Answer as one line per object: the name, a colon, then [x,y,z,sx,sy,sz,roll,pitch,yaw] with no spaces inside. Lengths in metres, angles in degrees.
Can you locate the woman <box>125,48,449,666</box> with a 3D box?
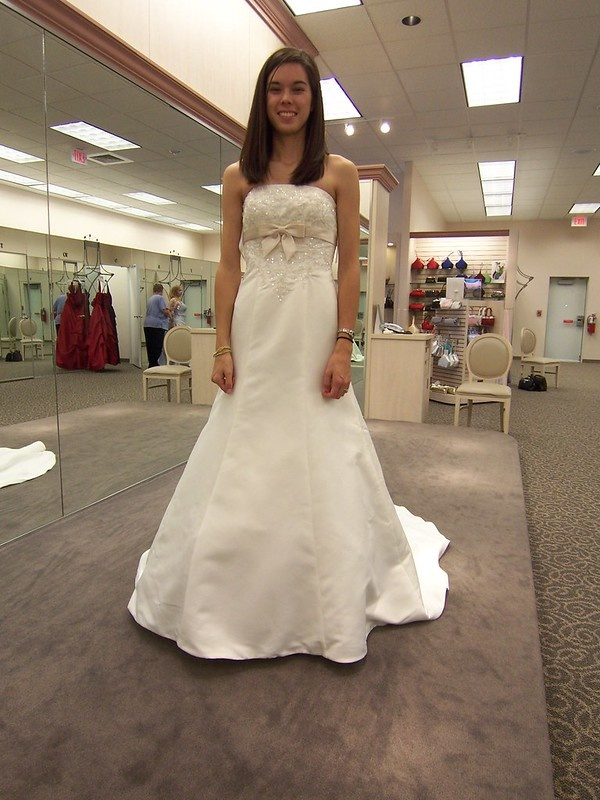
woman: [-0.024,-0.185,1.496,0.844,1.507,0.866,7,9,44]

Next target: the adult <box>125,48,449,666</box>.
adult: [0.006,-0.176,1.496,0.896,1.482,0.843,-6,10,-35]

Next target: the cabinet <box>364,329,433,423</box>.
cabinet: [1.086,-0.259,5.487,0.680,1.228,1.247,2,9,14]

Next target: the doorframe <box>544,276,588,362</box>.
doorframe: [7.703,-2.341,14.354,0.971,2.860,0.239,8,47,31]

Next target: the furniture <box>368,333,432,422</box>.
furniture: [1.085,-0.222,5.497,0.674,1.216,1.227,2,10,14]
